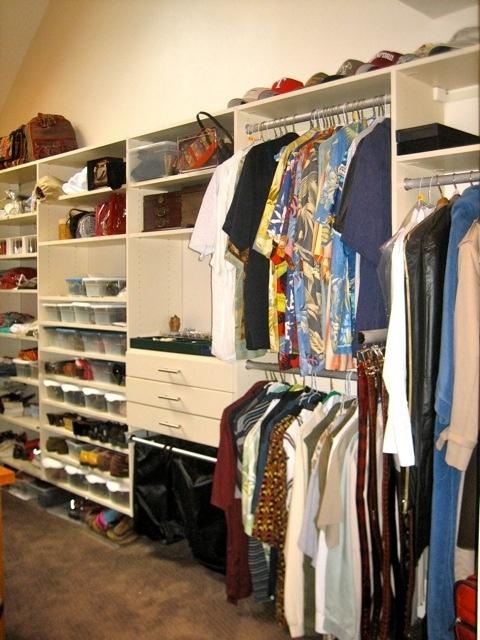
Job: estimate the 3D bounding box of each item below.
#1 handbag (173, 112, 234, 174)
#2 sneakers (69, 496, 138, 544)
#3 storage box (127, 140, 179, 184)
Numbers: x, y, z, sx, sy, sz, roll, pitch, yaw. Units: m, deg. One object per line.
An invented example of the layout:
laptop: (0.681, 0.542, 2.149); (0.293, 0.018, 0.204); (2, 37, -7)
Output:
handbag: (-0.142, -0.828, 2.387); (0.227, 0.277, 0.308); (0, -1, -34)
sneakers: (-0.747, 1.146, 2.845); (0.198, 0.119, 0.291); (12, -4, -42)
storage box: (-0.527, -0.904, 2.830); (0.179, 0.269, 0.382); (3, 18, -8)
